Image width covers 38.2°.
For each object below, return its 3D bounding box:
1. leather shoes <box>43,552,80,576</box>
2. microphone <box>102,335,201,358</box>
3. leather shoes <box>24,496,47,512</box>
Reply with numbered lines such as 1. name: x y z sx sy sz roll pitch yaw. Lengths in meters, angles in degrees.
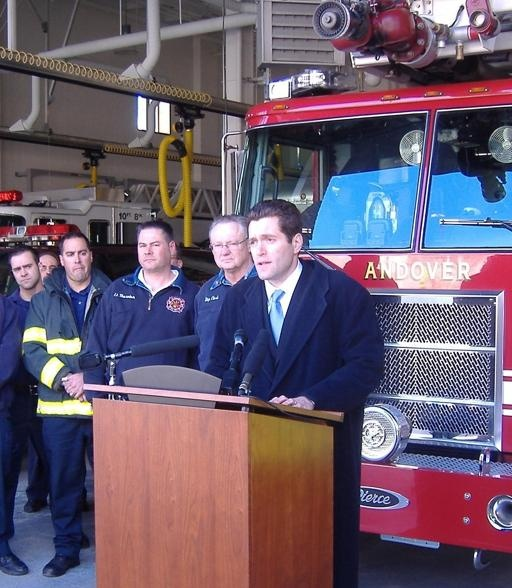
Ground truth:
1. leather shoes: -1.124 1.557 4.242 0.121 0.095 0.272 1 4 16
2. microphone: -0.353 0.187 2.461 0.309 0.086 0.170 1 4 15
3. leather shoes: -1.668 1.605 5.545 0.064 0.080 0.191 -1 -16 4
